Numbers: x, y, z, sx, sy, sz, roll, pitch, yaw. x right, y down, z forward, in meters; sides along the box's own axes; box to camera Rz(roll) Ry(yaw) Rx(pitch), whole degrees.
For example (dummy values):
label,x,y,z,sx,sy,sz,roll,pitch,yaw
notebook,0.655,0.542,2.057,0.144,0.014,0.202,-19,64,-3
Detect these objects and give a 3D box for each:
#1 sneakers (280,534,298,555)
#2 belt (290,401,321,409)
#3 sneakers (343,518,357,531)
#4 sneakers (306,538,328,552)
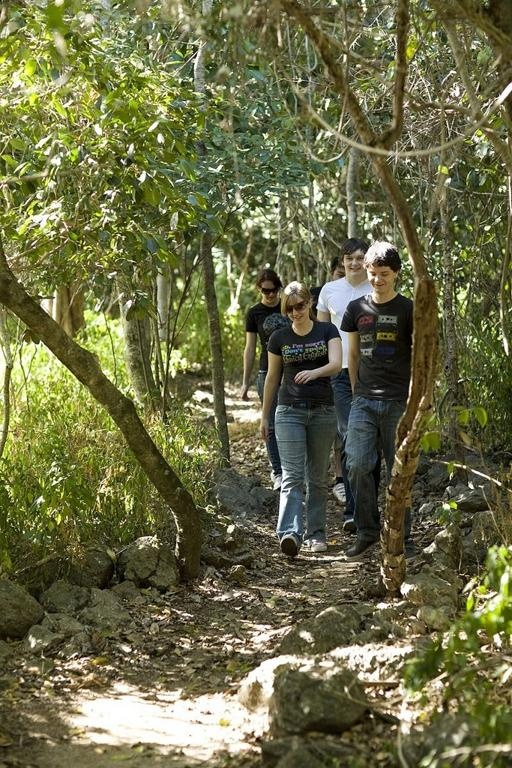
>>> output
label,x,y,z,sx,sy,sz,roll,pitch,yaw
sneakers,0.207,1.033,4.573,0.080,0.165,0.073,-1,37,3
belt,0.325,0.136,4.719,0.186,0.055,0.037,8,11,-1
sneakers,0.682,1.035,5.254,0.080,0.074,0.193,4,-31,0
sneakers,0.418,1.094,4.854,0.064,0.069,0.167,3,-10,-15
